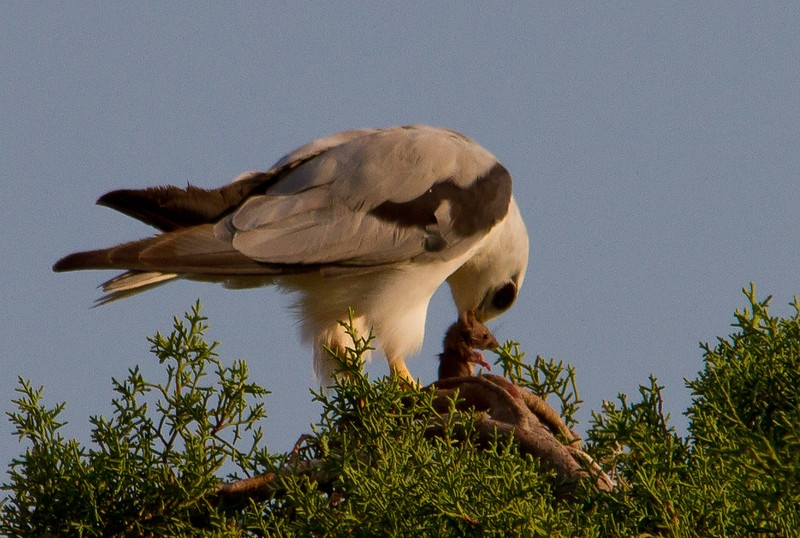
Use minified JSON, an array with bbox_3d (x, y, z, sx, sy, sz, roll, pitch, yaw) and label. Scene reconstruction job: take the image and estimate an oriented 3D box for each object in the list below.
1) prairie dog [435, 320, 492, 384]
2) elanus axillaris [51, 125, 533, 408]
[{"bbox_3d":[0.364,0.438,10.181,0.347,0.400,0.235,-2,-1,7],"label":"prairie dog"},{"bbox_3d":[-0.379,-0.162,10.071,2.488,1.564,0.809,1,-18,-20],"label":"elanus axillaris"}]
